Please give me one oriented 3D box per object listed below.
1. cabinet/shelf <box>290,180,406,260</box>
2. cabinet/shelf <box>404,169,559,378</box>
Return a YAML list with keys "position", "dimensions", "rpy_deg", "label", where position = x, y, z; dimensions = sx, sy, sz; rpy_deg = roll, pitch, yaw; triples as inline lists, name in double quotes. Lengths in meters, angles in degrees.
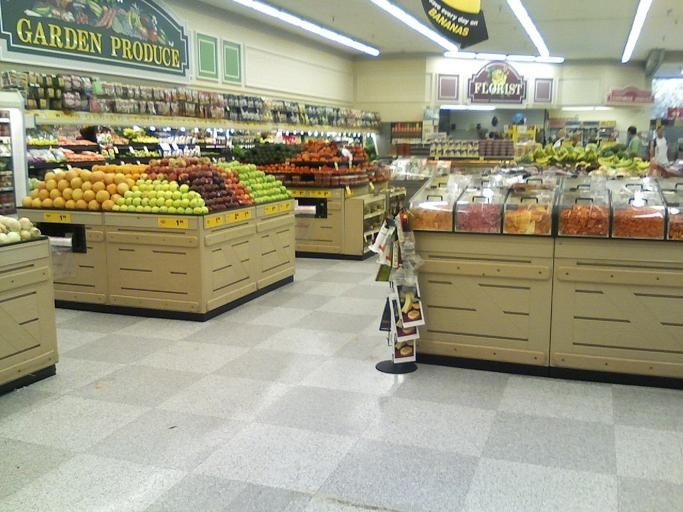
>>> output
- position: [0.161, -0.686, 8.749]
  dimensions: [1.326, 1.157, 2.568]
  rpy_deg: [6, 14, 19]
  label: "cabinet/shelf"
- position: [1.414, 0.184, 4.392]
  dimensions: [1.271, 1.447, 1.290]
  rpy_deg: [0, 1, -41]
  label: "cabinet/shelf"
